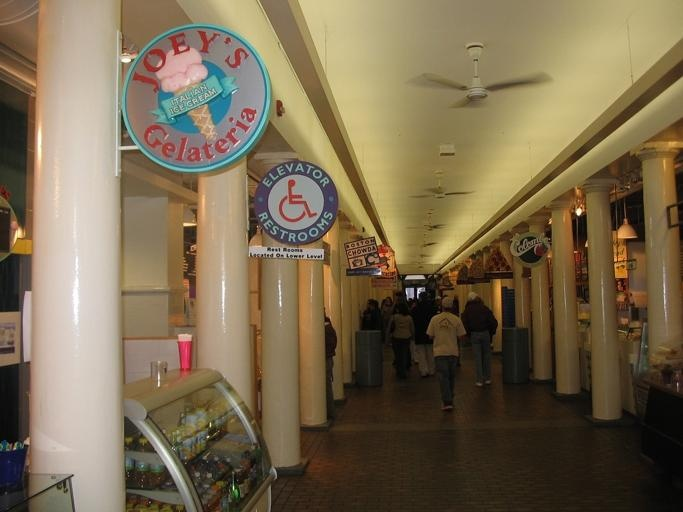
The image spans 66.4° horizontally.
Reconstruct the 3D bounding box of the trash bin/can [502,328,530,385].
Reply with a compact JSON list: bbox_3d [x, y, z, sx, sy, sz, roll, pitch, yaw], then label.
[{"bbox_3d":[3.651,2.089,10.960,0.535,1.149,0.424,-2,-4,15],"label":"trash bin/can"}]

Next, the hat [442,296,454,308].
[{"bbox_3d":[1.679,0.733,8.298,0.137,0.124,0.214,3,3,11],"label":"hat"}]

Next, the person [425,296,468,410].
[{"bbox_3d":[1.761,1.592,8.729,0.569,1.829,1.305,-2,-4,13],"label":"person"}]

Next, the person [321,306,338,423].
[{"bbox_3d":[-0.162,1.721,8.021,0.162,1.567,0.514,-1,-4,-1],"label":"person"}]

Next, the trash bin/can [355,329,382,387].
[{"bbox_3d":[0.591,2.175,11.137,0.536,1.150,0.349,-1,-4,-7],"label":"trash bin/can"}]

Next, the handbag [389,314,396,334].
[{"bbox_3d":[1.159,1.560,12.114,0.143,0.355,0.246,2,-39,-1],"label":"handbag"}]
